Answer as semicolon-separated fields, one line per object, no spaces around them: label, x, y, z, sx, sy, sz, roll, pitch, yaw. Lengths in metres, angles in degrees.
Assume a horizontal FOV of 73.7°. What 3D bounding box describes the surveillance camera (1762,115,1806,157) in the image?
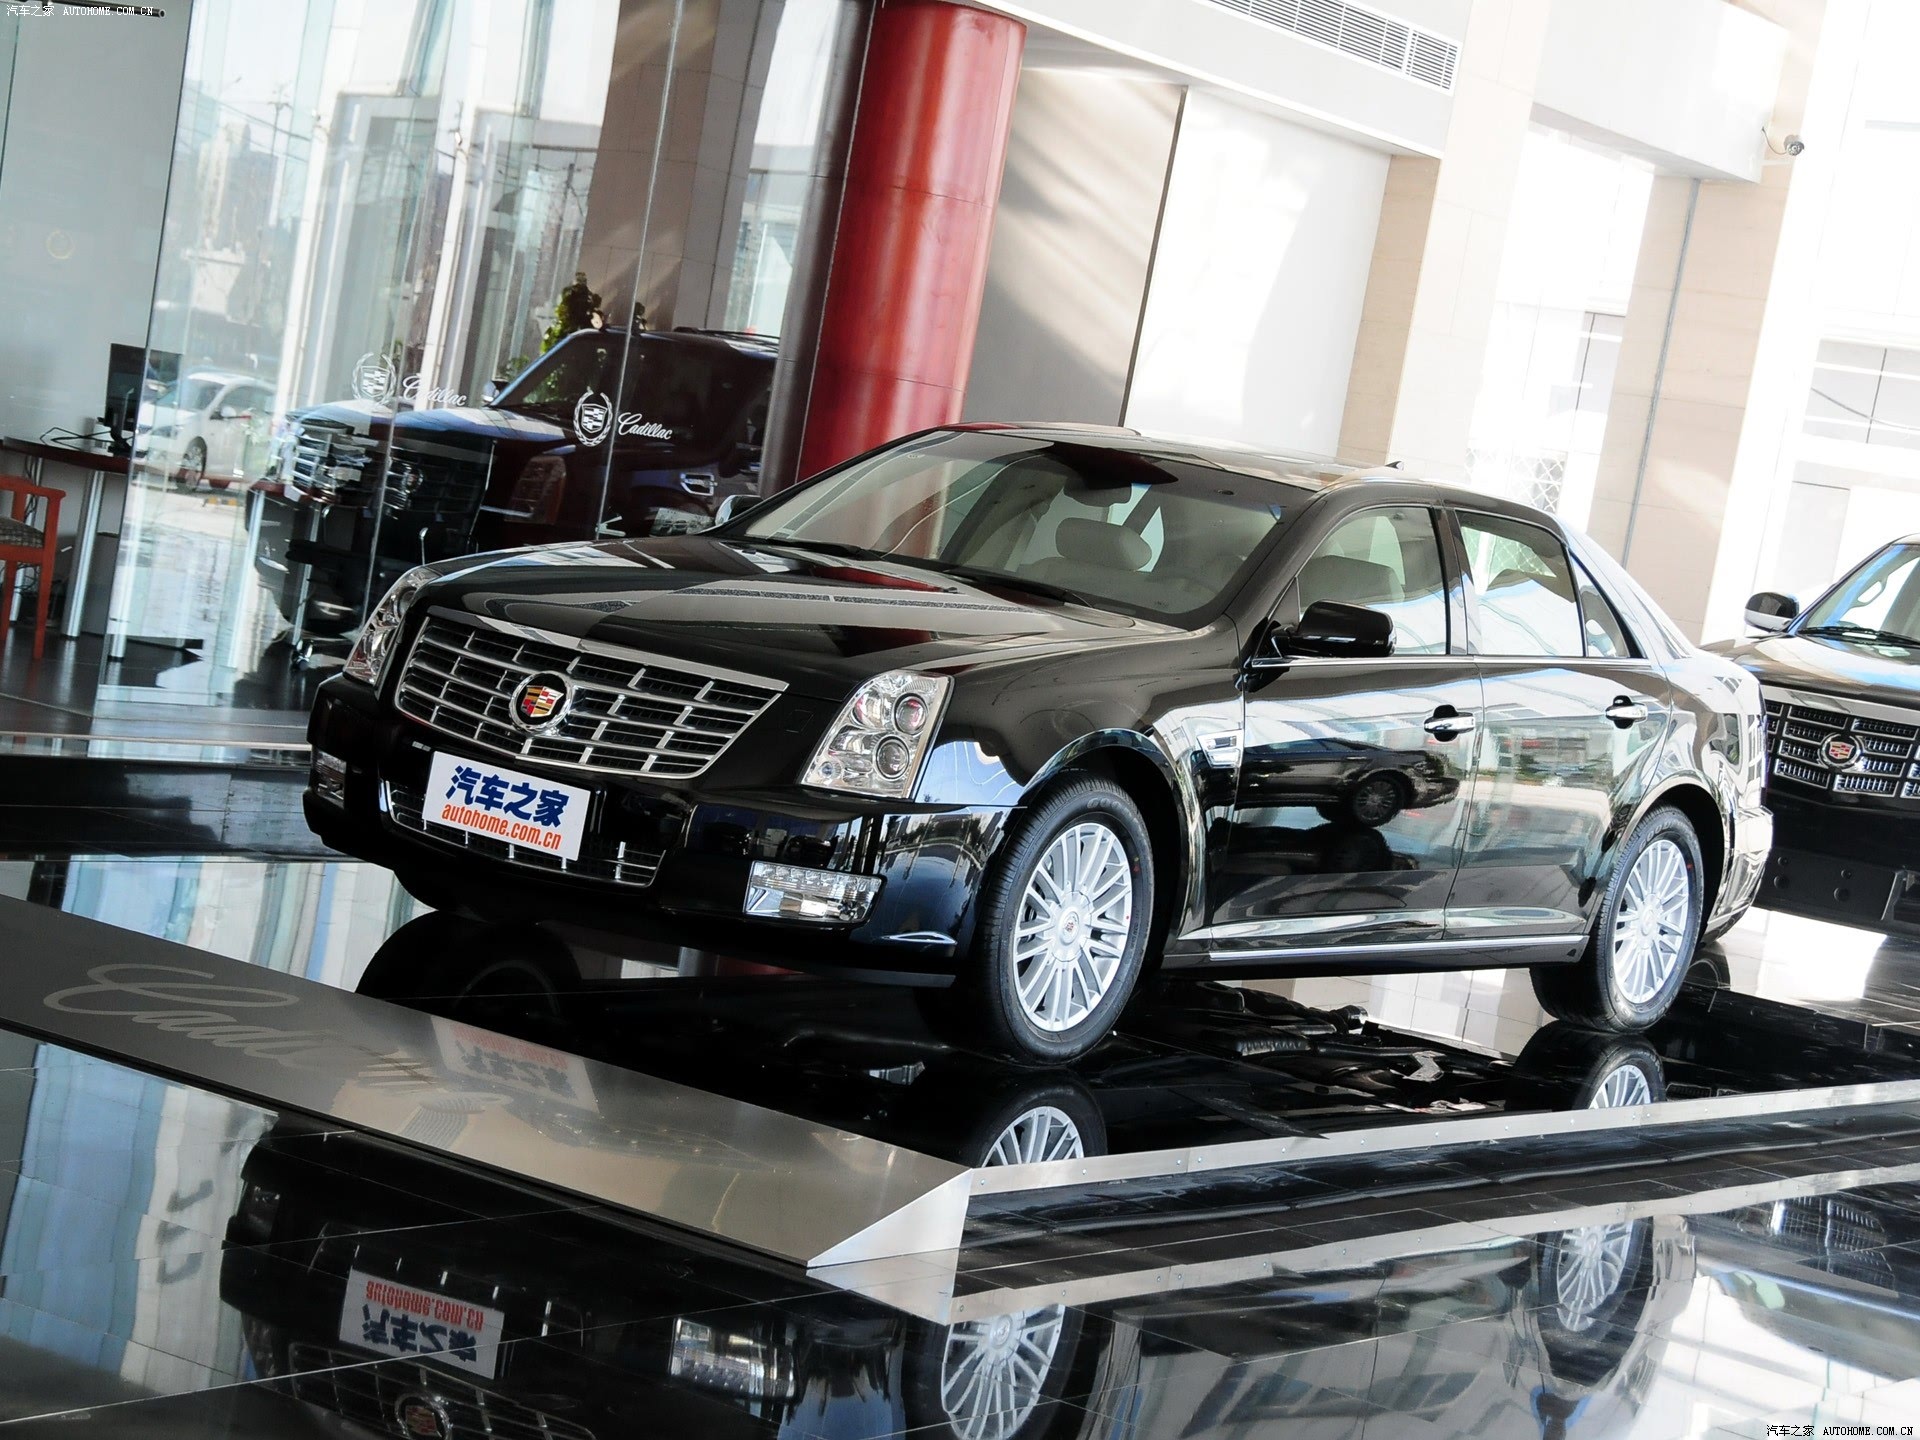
surveillance camera;10.198;-7.230;15.903;0.610;0.241;0.425;13;20;29

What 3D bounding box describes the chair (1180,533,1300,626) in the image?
chair;0.773;-0.424;3.713;0.234;0.351;0.101;26;-20;26

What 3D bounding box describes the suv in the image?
suv;-2.031;-2.000;9.686;2.978;1.974;4.472;-1;9;28

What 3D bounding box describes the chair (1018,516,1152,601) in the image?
chair;0.388;-0.474;3.799;0.261;0.105;0.324;6;2;15

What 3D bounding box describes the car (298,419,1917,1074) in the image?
car;0.861;0.016;4.417;5.162;1.734;1.733;8;5;-37
